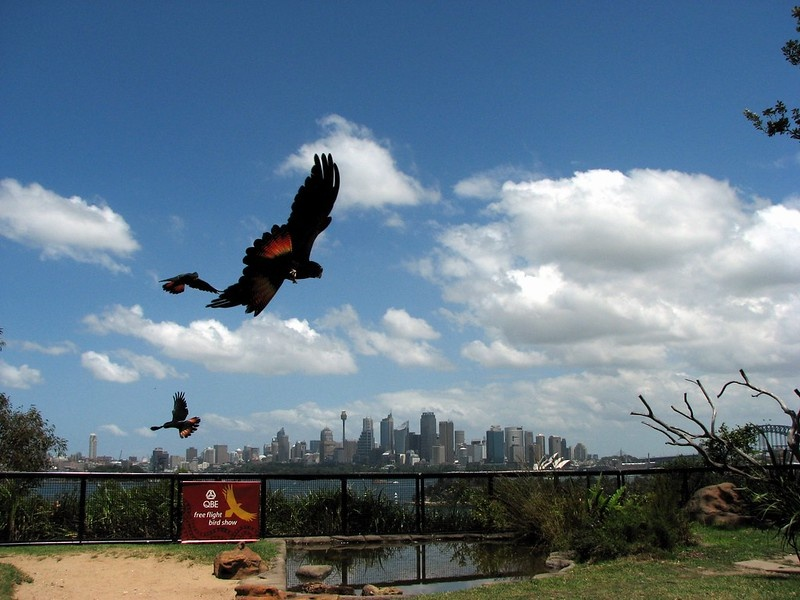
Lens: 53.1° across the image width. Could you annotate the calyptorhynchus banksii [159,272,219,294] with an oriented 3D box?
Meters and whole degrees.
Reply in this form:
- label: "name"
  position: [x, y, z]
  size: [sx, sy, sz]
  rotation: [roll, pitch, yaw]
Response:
- label: "calyptorhynchus banksii"
  position: [-2.553, -0.185, 9.610]
  size: [0.532, 0.275, 0.203]
  rotation: [15, 15, -2]
